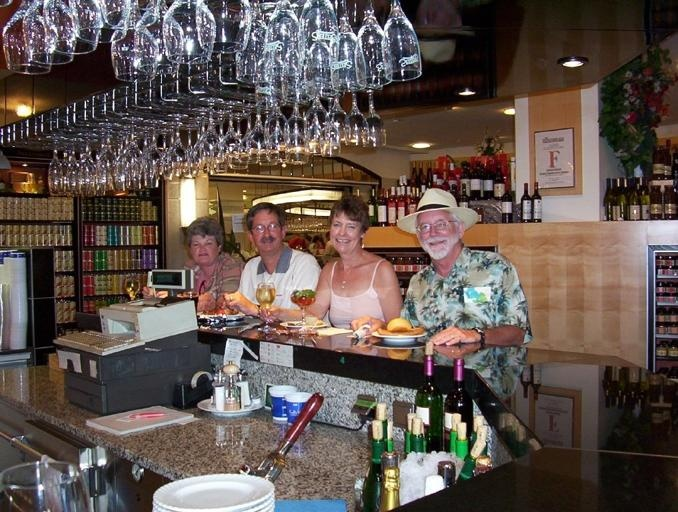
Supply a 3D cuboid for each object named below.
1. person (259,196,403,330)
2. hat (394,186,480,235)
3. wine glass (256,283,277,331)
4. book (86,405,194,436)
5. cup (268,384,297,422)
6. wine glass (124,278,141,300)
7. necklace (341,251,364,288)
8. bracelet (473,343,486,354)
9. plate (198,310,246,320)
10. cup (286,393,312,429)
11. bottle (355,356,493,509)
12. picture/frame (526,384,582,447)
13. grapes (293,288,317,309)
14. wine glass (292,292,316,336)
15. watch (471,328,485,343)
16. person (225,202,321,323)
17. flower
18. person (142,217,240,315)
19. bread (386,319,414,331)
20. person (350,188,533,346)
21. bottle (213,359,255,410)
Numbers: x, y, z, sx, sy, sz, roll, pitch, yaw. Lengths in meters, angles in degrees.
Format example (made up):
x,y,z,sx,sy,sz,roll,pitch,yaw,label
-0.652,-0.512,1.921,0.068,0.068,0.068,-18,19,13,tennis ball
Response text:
x,y,z,sx,sy,sz,roll,pitch,yaw,label
-0.005,0.081,3.880,0.796,0.889,0.586,-3,-3,5,person
0.590,-0.321,3.504,0.425,0.177,0.455,-3,-9,-19,hat
-0.412,0.272,3.208,0.093,0.249,0.430,-2,3,-8,wine glass
-0.894,0.744,2.571,0.396,0.026,0.341,-4,3,-42,book
-0.267,0.650,2.550,0.132,0.119,0.135,1,1,0,cup
-1.441,0.226,3.974,0.086,0.170,0.332,-3,3,-20,wine glass
0.098,0.097,3.874,0.168,0.248,0.094,-8,-12,35,necklace
0.619,0.411,2.513,0.029,0.039,0.090,-4,-12,14,bracelet
-0.736,0.367,3.544,0.292,0.038,0.392,-3,3,-14,plate
-0.203,0.689,2.513,0.119,0.106,0.124,1,-19,0,cup
0.257,0.573,1.697,0.417,0.448,0.478,-2,3,-2,bottle
0.656,0.511,1.733,0.129,0.250,0.023,3,26,25,picture/frame
-0.198,0.243,3.237,0.106,0.087,0.109,0,-3,17,grapes
-0.203,0.308,3.250,0.142,0.236,0.144,0,6,-6,wine glass
0.662,0.376,2.666,0.051,0.079,0.075,-4,-4,-33,watch
-0.545,0.050,3.979,0.745,0.989,0.713,-1,-4,23,person
2.592,-1.305,5.275,0.874,1.090,0.481,-5,8,-12,flower
-1.088,0.115,4.500,0.594,0.847,0.908,-1,19,-10,person
0.282,0.332,2.750,0.074,0.043,0.073,-3,-1,32,bread
0.753,0.039,3.380,0.429,0.900,0.736,-4,3,-39,person
-0.501,0.614,2.668,0.185,0.213,0.109,-2,3,-10,bottle
